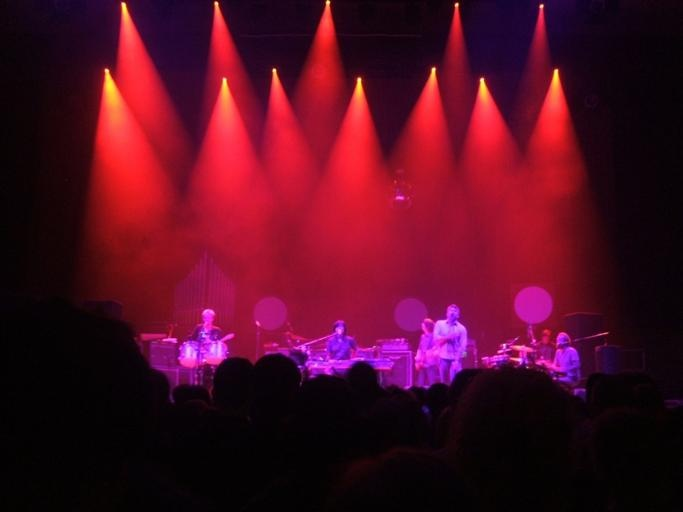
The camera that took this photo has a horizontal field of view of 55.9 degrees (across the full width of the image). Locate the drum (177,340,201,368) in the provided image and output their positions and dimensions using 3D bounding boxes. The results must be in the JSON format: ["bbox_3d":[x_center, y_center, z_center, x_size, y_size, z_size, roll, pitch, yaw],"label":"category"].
[{"bbox_3d":[-2.626,1.749,11.126,0.378,0.403,0.388,17,-32,-32],"label":"drum"}]

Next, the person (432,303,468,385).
[{"bbox_3d":[1.942,1.749,11.577,0.501,1.675,0.471,2,12,12],"label":"person"}]

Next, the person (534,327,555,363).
[{"bbox_3d":[3.873,1.731,12.341,0.406,1.072,0.304,-2,-17,16],"label":"person"}]

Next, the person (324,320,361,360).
[{"bbox_3d":[-0.032,1.620,11.491,0.644,1.017,0.552,0,-21,-3],"label":"person"}]

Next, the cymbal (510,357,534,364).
[{"bbox_3d":[3.026,1.787,10.835,0.208,0.087,0.238,4,-6,-24],"label":"cymbal"}]
